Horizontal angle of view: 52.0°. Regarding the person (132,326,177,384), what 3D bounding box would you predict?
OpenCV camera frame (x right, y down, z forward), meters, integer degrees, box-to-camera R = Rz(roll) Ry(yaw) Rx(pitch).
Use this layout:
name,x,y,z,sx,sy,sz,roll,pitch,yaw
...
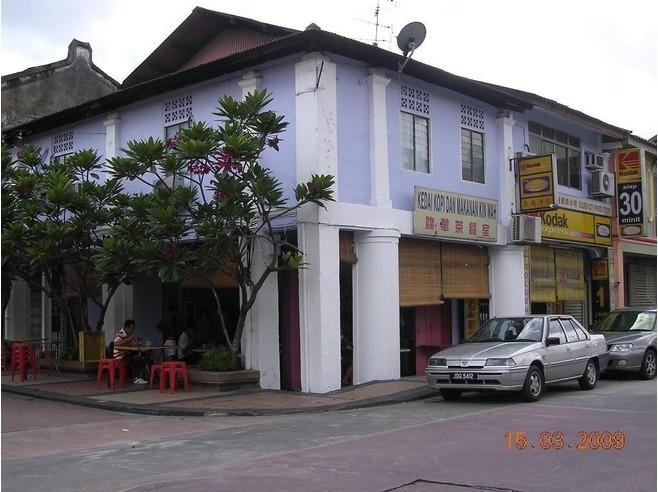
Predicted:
name,x,y,z,sx,sy,sz,roll,pitch,yaw
person,-5.124,3.036,19.666,1.045,1.129,2.086,6,12,-15

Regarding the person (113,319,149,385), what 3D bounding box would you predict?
name,x,y,z,sx,sy,sz,roll,pitch,yaw
person,-5.362,2.847,18.165,0.810,1.751,0.779,-4,0,15

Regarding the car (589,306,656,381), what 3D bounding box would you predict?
name,x,y,z,sx,sy,sz,roll,pitch,yaw
car,8.042,2.469,18.194,1.330,1.265,2.373,-7,-12,36

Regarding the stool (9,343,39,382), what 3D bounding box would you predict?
name,x,y,z,sx,sy,sz,roll,pitch,yaw
stool,-8.964,3.444,19.865,0.752,1.443,0.776,-9,-13,38

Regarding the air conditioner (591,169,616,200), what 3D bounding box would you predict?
name,x,y,z,sx,sy,sz,roll,pitch,yaw
air conditioner,10.633,-2.484,26.361,1.246,1.157,0.489,-1,0,-39

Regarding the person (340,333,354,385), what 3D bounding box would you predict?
name,x,y,z,sx,sy,sz,roll,pitch,yaw
person,0.447,2.958,17.695,0.396,1.257,0.264,-1,0,-41

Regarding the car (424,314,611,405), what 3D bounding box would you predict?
name,x,y,z,sx,sy,sz,roll,pitch,yaw
car,4.331,2.541,15.509,4.331,1.936,1.747,-1,0,-38
